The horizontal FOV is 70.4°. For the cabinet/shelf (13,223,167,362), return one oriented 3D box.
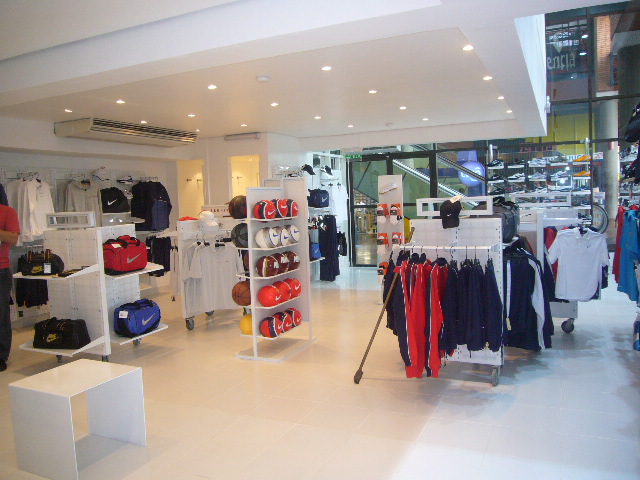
[{"bbox_3d":[-3.144,0.602,6.203,1.738,1.782,1.775,1,2,27],"label":"cabinet/shelf"}]

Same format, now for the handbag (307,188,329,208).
[{"bbox_3d":[-0.058,-0.891,9.924,0.389,0.342,0.408,1,2,29],"label":"handbag"}]

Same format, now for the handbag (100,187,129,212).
[{"bbox_3d":[-4.125,-0.782,9.031,0.171,0.426,0.474,-1,6,38],"label":"handbag"}]

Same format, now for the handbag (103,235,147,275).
[{"bbox_3d":[-2.459,0.185,5.790,0.411,0.472,0.574,6,9,27],"label":"handbag"}]

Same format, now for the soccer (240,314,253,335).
[{"bbox_3d":[-0.951,1.092,5.863,0.153,0.258,0.083,-1,9,7],"label":"soccer"}]

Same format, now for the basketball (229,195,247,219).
[{"bbox_3d":[-1.060,-0.416,5.844,0.252,0.294,0.141,-2,9,5],"label":"basketball"}]

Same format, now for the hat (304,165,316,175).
[{"bbox_3d":[-0.265,-1.529,10.001,0.209,0.209,0.558,-2,10,3],"label":"hat"}]

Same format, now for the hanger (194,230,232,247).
[{"bbox_3d":[-1.653,-0.033,6.972,0.520,0.277,0.276,-6,10,-19],"label":"hanger"}]

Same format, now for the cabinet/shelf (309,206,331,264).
[{"bbox_3d":[-0.013,-0.103,9.746,0.369,1.157,1.192,1,3,13],"label":"cabinet/shelf"}]

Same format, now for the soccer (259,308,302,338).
[{"bbox_3d":[-0.524,1.073,5.942,0.235,0.241,0.591,5,13,38],"label":"soccer"}]

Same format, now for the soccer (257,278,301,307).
[{"bbox_3d":[-0.529,0.662,5.855,0.249,0.248,0.647,4,12,35],"label":"soccer"}]

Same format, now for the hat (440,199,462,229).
[{"bbox_3d":[1.495,-0.297,5.205,0.224,0.308,0.310,0,2,9],"label":"hat"}]

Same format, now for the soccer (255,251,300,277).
[{"bbox_3d":[-0.528,0.301,5.837,0.223,0.265,0.655,6,13,41],"label":"soccer"}]

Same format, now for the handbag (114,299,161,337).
[{"bbox_3d":[-2.396,1.009,5.970,0.366,0.474,0.647,3,5,19],"label":"handbag"}]

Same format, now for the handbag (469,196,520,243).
[{"bbox_3d":[2.169,-0.434,5.586,0.512,0.686,0.944,1,6,23],"label":"handbag"}]

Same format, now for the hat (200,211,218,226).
[{"bbox_3d":[-1.752,-0.322,7.070,0.258,0.215,0.407,-6,11,-20],"label":"hat"}]
